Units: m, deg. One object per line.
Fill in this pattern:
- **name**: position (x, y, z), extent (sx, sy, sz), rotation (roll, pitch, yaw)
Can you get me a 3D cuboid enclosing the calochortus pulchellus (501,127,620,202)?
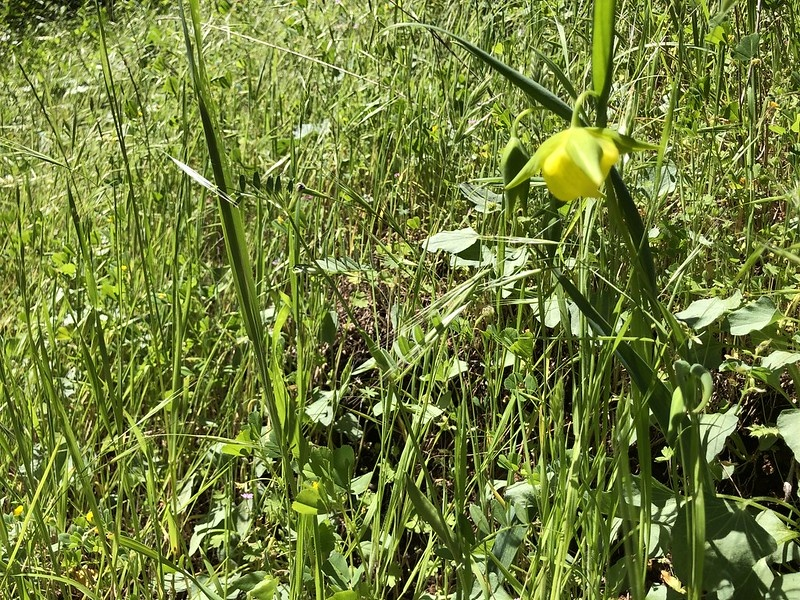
- **calochortus pulchellus**: position (0.430, -0.323, 1.926), extent (0.194, 0.115, 0.192), rotation (20, -33, -41)
